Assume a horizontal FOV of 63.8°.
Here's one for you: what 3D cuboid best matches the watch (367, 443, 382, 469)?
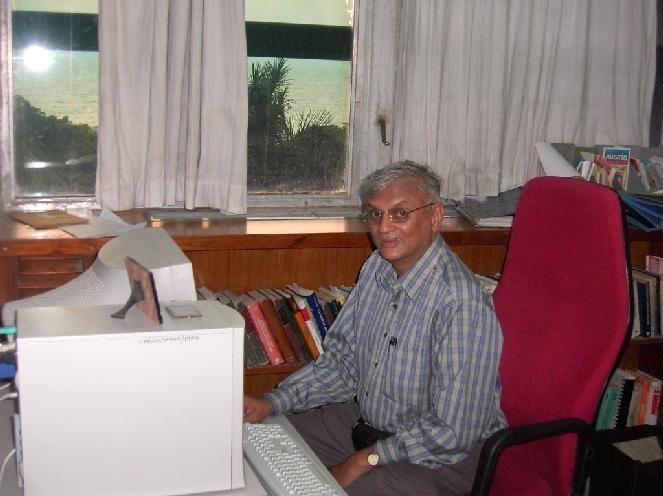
[{"bbox_3d":[0.124,0.613,1.572,0.036,0.061,0.027,-2,5,2],"label":"watch"}]

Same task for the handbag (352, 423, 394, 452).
[{"bbox_3d":[0.133,0.603,1.712,0.100,0.101,0.073,14,25,15],"label":"handbag"}]
